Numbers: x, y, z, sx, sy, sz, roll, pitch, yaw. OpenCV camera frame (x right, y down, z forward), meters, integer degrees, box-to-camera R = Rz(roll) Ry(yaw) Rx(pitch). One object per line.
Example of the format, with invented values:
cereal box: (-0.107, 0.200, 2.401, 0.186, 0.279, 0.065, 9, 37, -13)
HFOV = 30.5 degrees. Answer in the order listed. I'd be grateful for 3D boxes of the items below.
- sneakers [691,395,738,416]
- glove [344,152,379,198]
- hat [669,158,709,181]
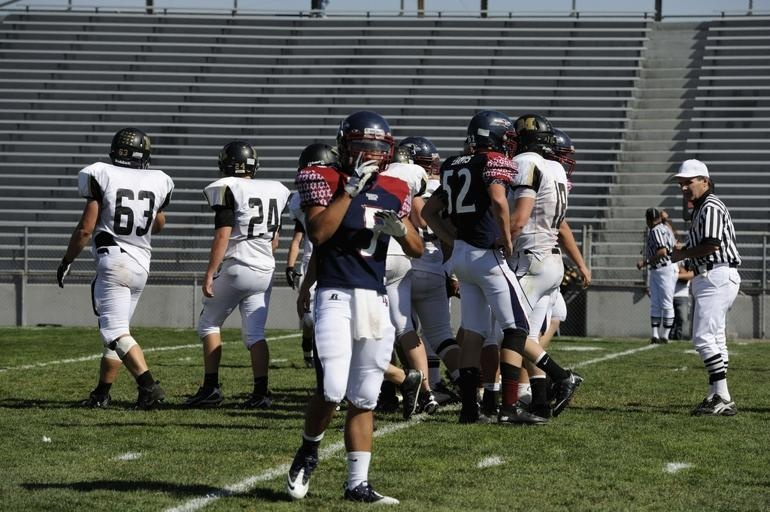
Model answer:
sneakers: (4.868, 2.248, 20.960, 0.682, 0.289, 0.281, 1, -7, -5)
glove: (-0.303, -1.044, 18.665, 0.349, 0.557, 0.243, 28, -3, 8)
hat: (4.641, -1.271, 21.279, 0.584, 0.302, 0.400, 4, -3, -16)
